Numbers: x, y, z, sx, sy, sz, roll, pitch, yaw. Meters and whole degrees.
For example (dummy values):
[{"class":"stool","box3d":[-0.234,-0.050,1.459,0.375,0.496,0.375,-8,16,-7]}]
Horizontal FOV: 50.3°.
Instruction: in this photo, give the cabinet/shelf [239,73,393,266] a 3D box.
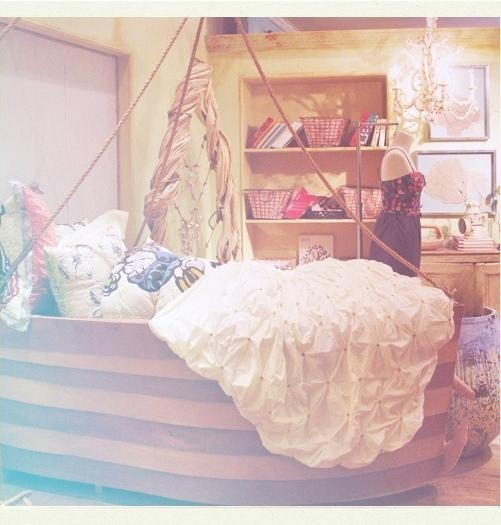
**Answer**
[{"class":"cabinet/shelf","box3d":[0.407,-0.550,3.113,1.011,1.507,0.398,1,-1,7]}]

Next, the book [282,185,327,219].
[{"class":"book","box3d":[0.297,-0.347,3.214,0.170,0.107,0.187,-1,16,21]}]

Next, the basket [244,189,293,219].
[{"class":"basket","box3d":[0.106,-0.359,3.281,0.172,0.157,0.258,0,-1,5]}]

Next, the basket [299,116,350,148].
[{"class":"basket","box3d":[0.447,-0.744,3.148,0.214,0.135,0.181,-1,4,7]}]

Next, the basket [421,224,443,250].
[{"class":"basket","box3d":[0.969,-0.138,2.897,0.099,0.136,0.153,-1,-7,5]}]

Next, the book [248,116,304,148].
[{"class":"book","box3d":[0.129,-0.794,3.323,0.312,0.129,0.115,2,-3,32]}]
